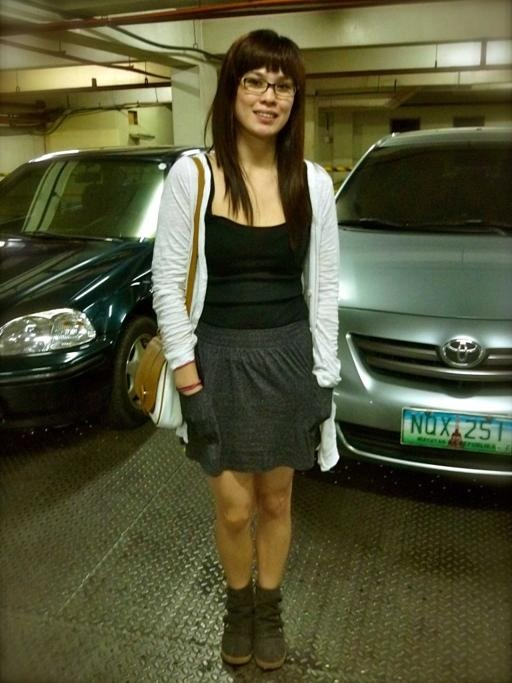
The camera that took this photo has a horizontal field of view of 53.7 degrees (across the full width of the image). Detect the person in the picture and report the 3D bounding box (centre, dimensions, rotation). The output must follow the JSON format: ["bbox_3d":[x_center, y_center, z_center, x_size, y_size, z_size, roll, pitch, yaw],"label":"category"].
[{"bbox_3d":[0.009,0.091,1.135,0.418,1.422,0.251,-14,18,-41],"label":"person"}]

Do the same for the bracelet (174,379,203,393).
[{"bbox_3d":[-0.136,0.096,1.015,0.049,0.034,0.023,1,14,12],"label":"bracelet"}]
